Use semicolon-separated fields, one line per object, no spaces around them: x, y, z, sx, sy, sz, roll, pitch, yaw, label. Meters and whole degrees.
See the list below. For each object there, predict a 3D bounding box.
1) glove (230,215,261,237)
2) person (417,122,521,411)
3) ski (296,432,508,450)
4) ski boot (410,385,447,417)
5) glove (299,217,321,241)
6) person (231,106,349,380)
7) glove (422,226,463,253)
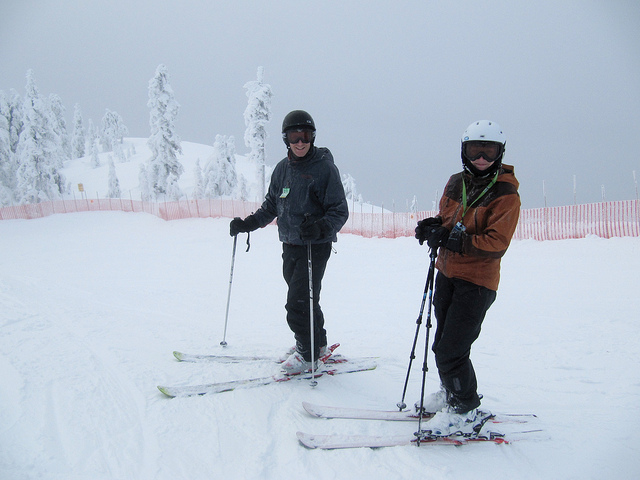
-1.188;-0.220;8.562;0.401;0.196;0.281;-15;14;-19;glove
1.894;0.343;6.890;1.097;3.601;0.801;4;9;21;person
0.891;2.531;6.821;2.359;0.135;0.173;1;10;-2;ski
1.482;2.168;7.239;0.611;0.303;0.222;-9;1;-29;ski boot
-0.134;-0.152;7.769;0.288;0.277;0.354;0;10;-4;glove
-0.350;0.032;8.105;1.454;3.805;0.866;8;11;38;person
1.566;-0.014;6.850;0.304;0.364;0.142;5;13;22;glove
